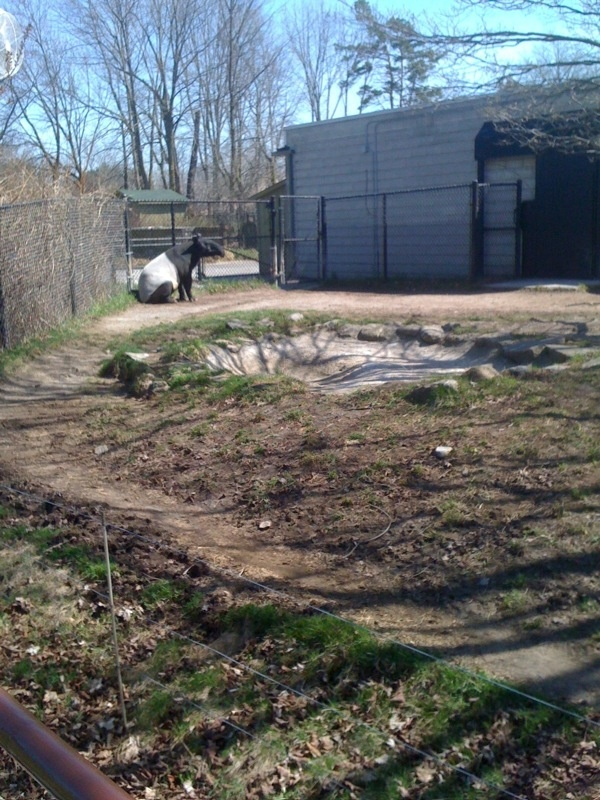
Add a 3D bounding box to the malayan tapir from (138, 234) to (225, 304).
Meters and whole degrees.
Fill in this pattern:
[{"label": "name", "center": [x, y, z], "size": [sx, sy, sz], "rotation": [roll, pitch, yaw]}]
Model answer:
[{"label": "malayan tapir", "center": [-2.153, -2.285, 15.832], "size": [0.650, 1.155, 1.433], "rotation": [3, 10, 40]}]
